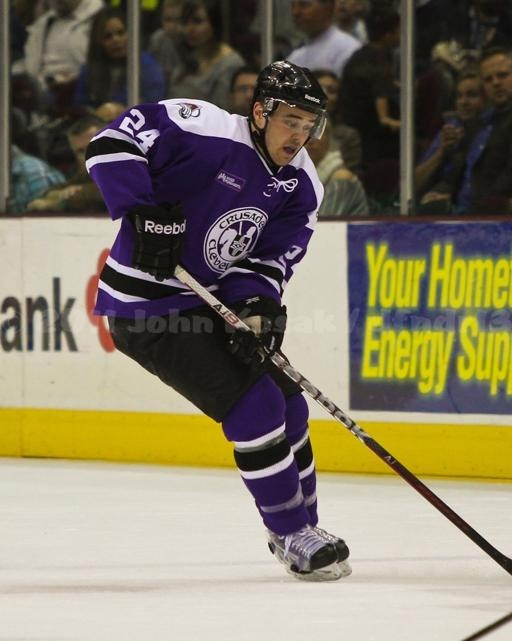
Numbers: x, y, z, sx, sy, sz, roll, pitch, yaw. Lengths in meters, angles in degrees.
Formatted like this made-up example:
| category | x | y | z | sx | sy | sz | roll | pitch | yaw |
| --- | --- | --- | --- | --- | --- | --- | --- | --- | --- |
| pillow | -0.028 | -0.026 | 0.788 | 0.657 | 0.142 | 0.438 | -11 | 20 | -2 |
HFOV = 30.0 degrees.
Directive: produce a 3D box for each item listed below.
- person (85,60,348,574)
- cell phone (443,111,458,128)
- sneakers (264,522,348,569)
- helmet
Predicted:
| category | x | y | z | sx | sy | sz | roll | pitch | yaw |
| --- | --- | --- | --- | --- | --- | --- | --- | --- | --- |
| person | -0.087 | -0.009 | 2.462 | 0.670 | 1.307 | 0.377 | 0 | 4 | -4 |
| cell phone | 0.818 | -0.847 | 4.016 | 0.060 | 0.060 | 0.019 | 0 | 4 | 8 |
| sneakers | 0.132 | 0.567 | 2.422 | 0.118 | 0.058 | 0.152 | 2 | -4 | -37 |
| helmet | 0.081 | -0.560 | 2.406 | 0.189 | 0.196 | 0.112 | 0 | 4 | 3 |
